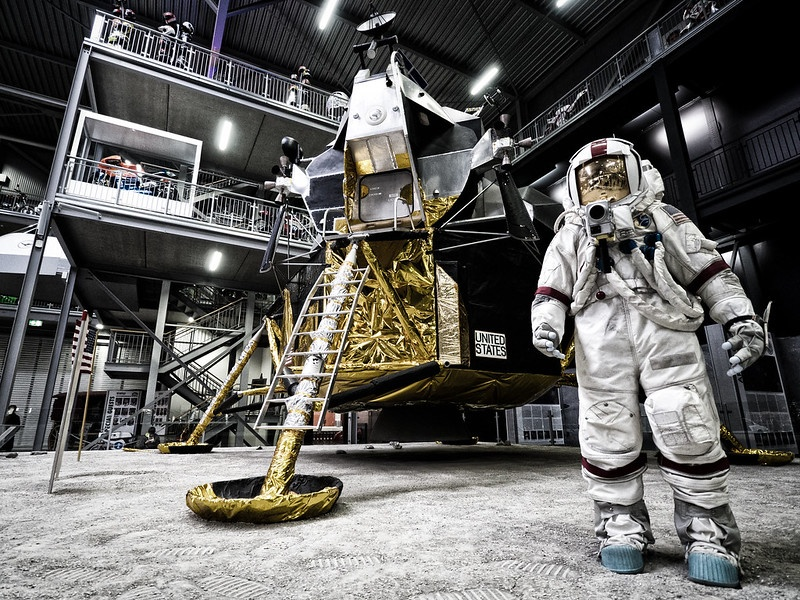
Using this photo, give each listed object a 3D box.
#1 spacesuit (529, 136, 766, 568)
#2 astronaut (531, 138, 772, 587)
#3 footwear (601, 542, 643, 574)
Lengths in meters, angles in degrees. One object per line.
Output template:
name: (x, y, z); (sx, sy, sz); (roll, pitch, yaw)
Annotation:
spacesuit: (1.722, 0.269, 3.669); (1.464, 3.051, 1.059); (-8, -15, 27)
astronaut: (1.705, 0.272, 3.652); (1.479, 3.061, 1.029); (-8, -16, 28)
footwear: (1.452, 1.669, 3.296); (0.175, 0.113, 0.216); (0, -22, 3)
